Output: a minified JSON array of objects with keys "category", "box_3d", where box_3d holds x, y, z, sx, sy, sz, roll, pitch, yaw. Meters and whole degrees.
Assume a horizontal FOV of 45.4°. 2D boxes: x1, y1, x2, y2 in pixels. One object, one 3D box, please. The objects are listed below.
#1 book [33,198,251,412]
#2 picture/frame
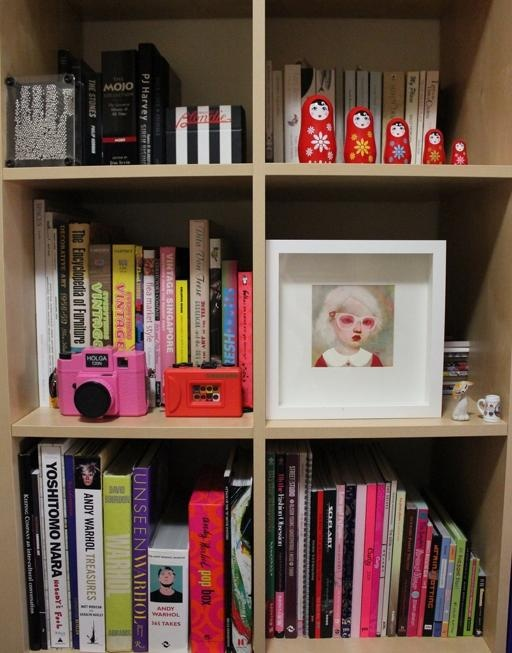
[{"category":"book","box_3d":[-0.223,-0.056,1.196,0.357,0.373,0.344,0,9,0]},{"category":"picture/frame","box_3d":[0.163,0.002,1.051,0.246,0.306,0.021,1,2,-9]}]
